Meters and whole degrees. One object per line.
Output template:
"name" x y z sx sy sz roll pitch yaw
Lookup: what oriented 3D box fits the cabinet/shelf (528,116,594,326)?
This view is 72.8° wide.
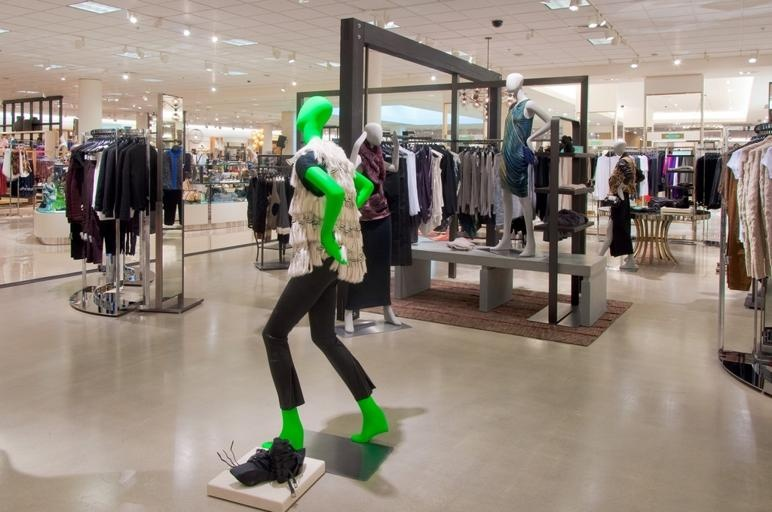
"cabinet/shelf" 2.028 -0.460 6.321 0.623 2.371 1.071 6 13 26

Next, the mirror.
"mirror" -2.625 -0.601 6.219 0.697 2.559 0.496 -7 14 -31

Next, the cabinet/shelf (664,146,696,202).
"cabinet/shelf" 6.975 -1.960 12.515 0.699 1.224 1.945 7 14 27

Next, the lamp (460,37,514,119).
"lamp" 1.724 -3.209 9.504 1.019 1.456 1.021 9 16 22

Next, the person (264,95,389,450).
"person" -0.443 0.154 3.443 0.853 2.358 0.496 -8 14 -33
